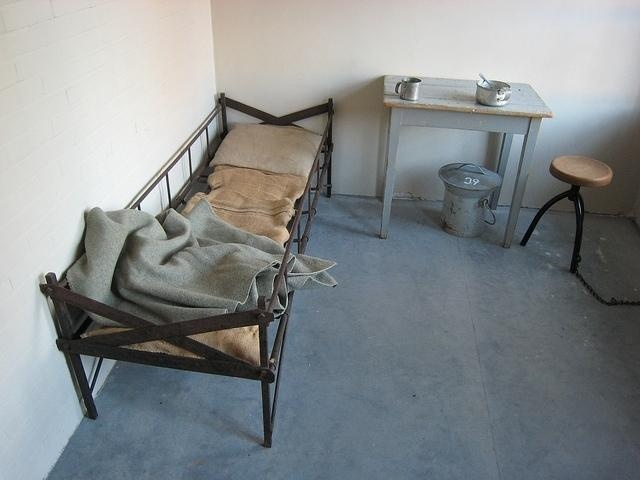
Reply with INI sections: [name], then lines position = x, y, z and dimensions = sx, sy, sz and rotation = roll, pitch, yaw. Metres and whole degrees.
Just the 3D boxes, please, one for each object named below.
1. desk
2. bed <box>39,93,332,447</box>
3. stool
[desk]
position = 0.951, -0.582, 3.405
dimensions = 1.042, 0.945, 0.843
rotation = 3, 30, 0
[bed]
position = -0.602, 0.400, 2.793
dimensions = 1.019, 0.715, 1.871
rotation = 7, 9, 0
[stool]
position = 1.634, -0.194, 3.152
dimensions = 0.393, 0.606, 0.366
rotation = 27, 42, 36
